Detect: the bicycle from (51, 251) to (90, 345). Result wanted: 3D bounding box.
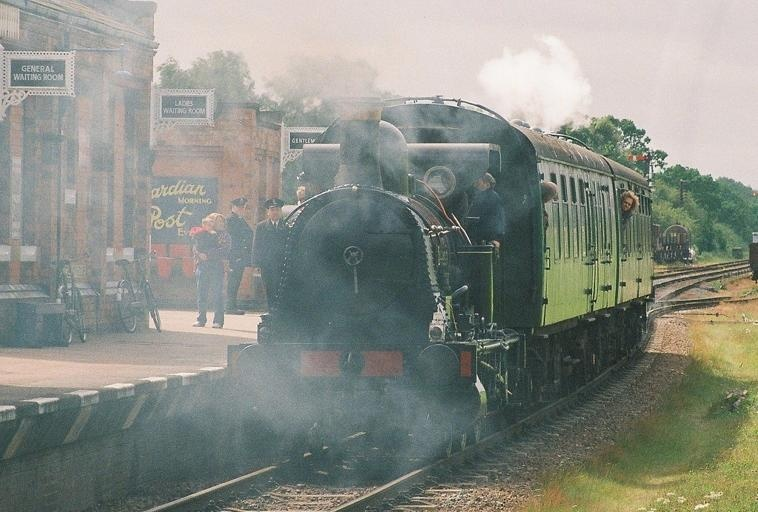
[{"bbox_3d":[-5.375,0.778,15.057,0.489,1.440,1.205,0,1,-16],"label":"bicycle"}]
